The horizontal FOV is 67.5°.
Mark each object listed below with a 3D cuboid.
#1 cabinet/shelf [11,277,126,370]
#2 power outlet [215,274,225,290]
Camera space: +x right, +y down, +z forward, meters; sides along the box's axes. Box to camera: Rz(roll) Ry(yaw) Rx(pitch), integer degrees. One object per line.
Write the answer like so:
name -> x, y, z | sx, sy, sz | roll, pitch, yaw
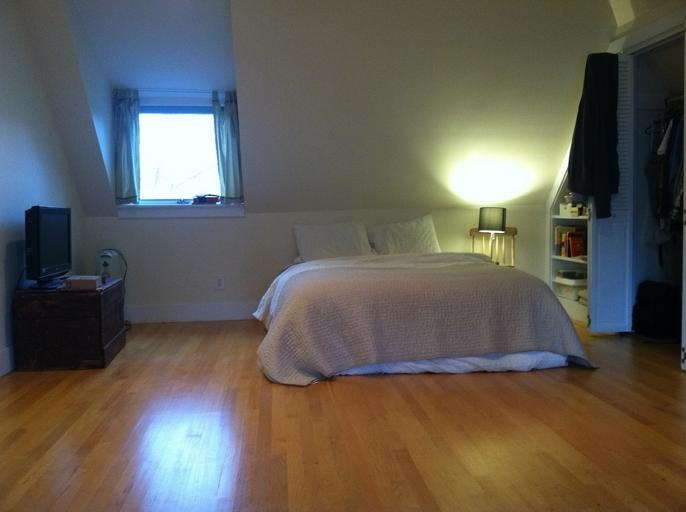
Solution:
cabinet/shelf -> -2.057, 0.504, 3.834 | 0.521, 0.512, 0.778 | 0, 2, -6
power outlet -> -1.251, 0.269, 5.183 | 0.093, 0.145, 0.018 | -1, 11, -5
